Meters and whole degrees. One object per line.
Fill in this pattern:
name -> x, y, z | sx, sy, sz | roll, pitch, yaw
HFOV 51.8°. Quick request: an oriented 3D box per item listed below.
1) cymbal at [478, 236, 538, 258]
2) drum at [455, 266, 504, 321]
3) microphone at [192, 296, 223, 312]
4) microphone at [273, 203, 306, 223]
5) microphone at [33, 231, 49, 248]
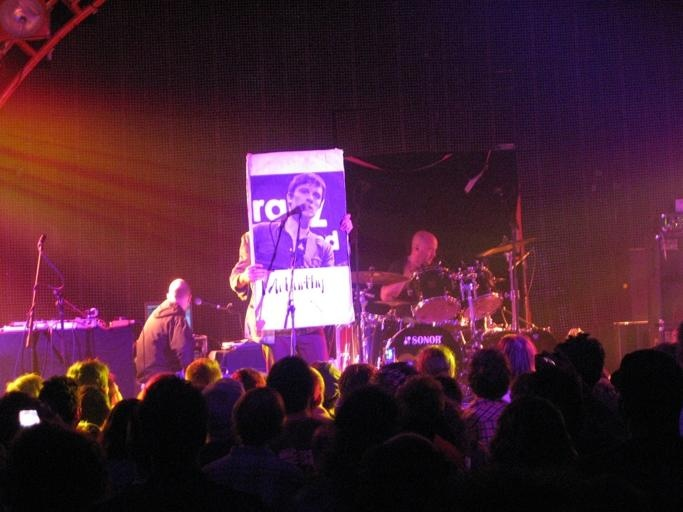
cymbal -> 2.075, -0.108, 8.682 | 0.612, 0.297, 0.923 | -4, -11, 20
drum -> 1.762, 0.504, 9.108 | 0.533, 0.800, 2.072 | -2, -11, 11
microphone -> -1.931, 0.677, 10.025 | 0.390, 0.112, 0.145 | 10, -26, 7
microphone -> -0.509, -0.408, 6.956 | 0.225, 0.072, 0.197 | -22, -2, 27
microphone -> -3.855, -0.200, 8.961 | 0.156, 0.070, 0.276 | 1, -20, -24
